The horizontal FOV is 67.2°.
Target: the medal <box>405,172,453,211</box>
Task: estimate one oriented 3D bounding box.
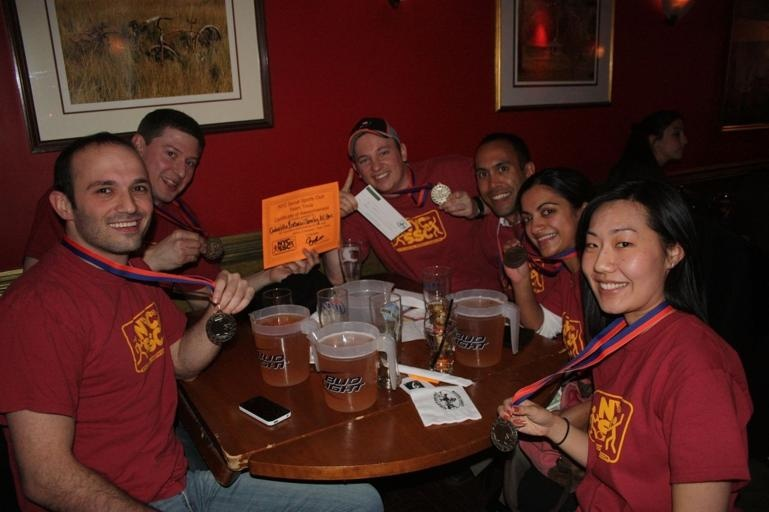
[{"bbox_3d":[0.274,-0.384,3.474,0.236,0.049,0.178,9,30,35],"label":"medal"}]

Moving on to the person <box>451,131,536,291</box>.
[{"bbox_3d":[0.644,-0.286,3.518,0.416,0.993,0.428,1,-2,-3],"label":"person"}]

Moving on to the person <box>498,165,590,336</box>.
[{"bbox_3d":[0.819,-0.008,3.031,0.368,0.915,0.388,0,-4,4],"label":"person"}]

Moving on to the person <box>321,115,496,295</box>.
[{"bbox_3d":[0.122,-0.294,3.528,0.694,0.938,0.579,-42,-1,26],"label":"person"}]

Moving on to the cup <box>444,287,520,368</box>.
[{"bbox_3d":[0.447,0.264,2.635,0.358,0.332,0.314,5,15,30],"label":"cup"}]

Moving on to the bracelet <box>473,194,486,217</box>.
[{"bbox_3d":[0.566,-0.298,3.457,0.036,0.104,0.090,-8,1,22],"label":"bracelet"}]

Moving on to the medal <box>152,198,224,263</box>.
[{"bbox_3d":[-1.102,-0.168,3.328,0.322,0.418,0.144,-38,3,-40],"label":"medal"}]

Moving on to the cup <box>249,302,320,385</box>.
[{"bbox_3d":[-0.446,0.348,2.537,0.281,0.324,0.362,-2,18,-17],"label":"cup"}]

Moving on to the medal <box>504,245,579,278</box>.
[{"bbox_3d":[0.777,0.034,2.912,0.342,0.153,0.305,2,15,5],"label":"medal"}]
